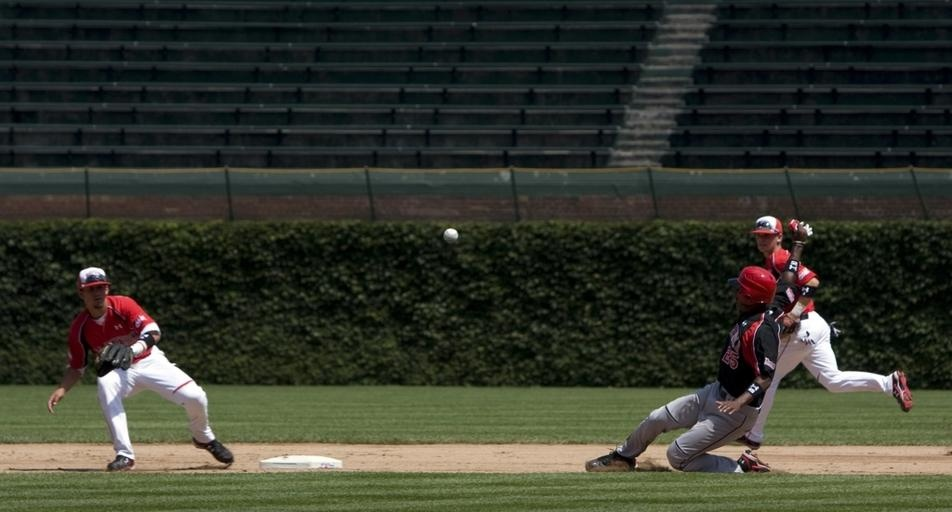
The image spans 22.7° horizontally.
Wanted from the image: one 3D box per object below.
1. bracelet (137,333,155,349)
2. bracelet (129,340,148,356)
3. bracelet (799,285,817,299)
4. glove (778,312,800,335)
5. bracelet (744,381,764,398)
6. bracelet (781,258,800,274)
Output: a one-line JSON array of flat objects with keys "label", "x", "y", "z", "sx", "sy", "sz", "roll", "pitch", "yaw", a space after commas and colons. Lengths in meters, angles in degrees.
[{"label": "bracelet", "x": -8.991, "y": 2.454, "z": 65.149, "sx": 0.422, "sy": 0.393, "sz": 0.304, "roll": 26, "pitch": 58, "yaw": 38}, {"label": "bracelet", "x": -9.230, "y": 2.664, "z": 64.951, "sx": 0.484, "sy": 0.376, "sz": 0.181, "roll": -32, "pitch": -20, "yaw": -20}, {"label": "bracelet", "x": 9.257, "y": 1.121, "z": 66.132, "sx": 0.273, "sy": 0.348, "sz": 0.578, "roll": 0, "pitch": 1, "yaw": 43}, {"label": "glove", "x": 8.652, "y": 2.024, "z": 65.815, "sx": 0.566, "sy": 0.668, "sz": 0.262, "roll": 3, "pitch": 34, "yaw": -4}, {"label": "bracelet", "x": 7.522, "y": 3.837, "z": 64.458, "sx": 0.444, "sy": 0.320, "sz": 0.150, "roll": -28, "pitch": 14, "yaw": 8}, {"label": "bracelet", "x": 8.735, "y": 0.413, "z": 65.905, "sx": 0.490, "sy": 0.397, "sz": 0.181, "roll": -2, "pitch": 1, "yaw": -24}]
